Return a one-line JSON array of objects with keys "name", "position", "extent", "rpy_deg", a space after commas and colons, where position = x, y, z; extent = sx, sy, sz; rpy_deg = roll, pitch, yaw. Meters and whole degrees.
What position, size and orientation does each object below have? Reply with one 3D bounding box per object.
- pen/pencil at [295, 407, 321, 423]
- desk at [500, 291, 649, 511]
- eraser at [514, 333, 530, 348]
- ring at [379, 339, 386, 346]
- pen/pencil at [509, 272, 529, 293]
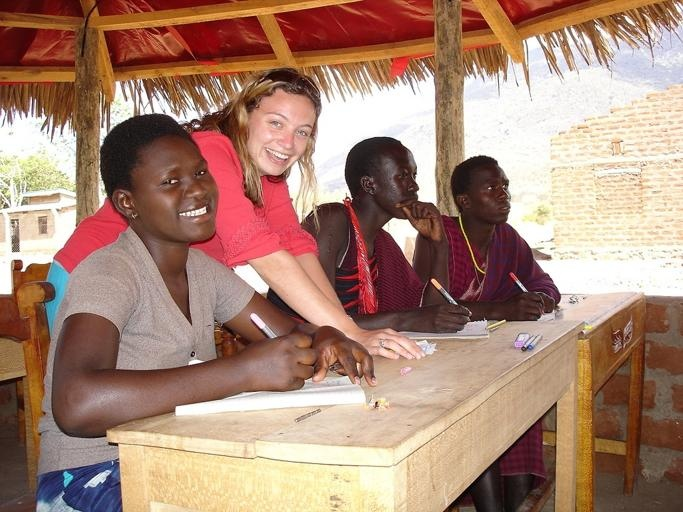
[{"name": "pen/pencil", "position": [-0.070, 0.335, 1.087], "extent": [0.015, 0.012, 0.076], "rpy_deg": [-13, -6, 29]}, {"name": "desk", "position": [1.112, 0.682, 2.404], "extent": [0.541, 1.162, 1.358], "rpy_deg": [1, 4, 28]}, {"name": "eraser", "position": [0.603, 0.282, 1.721], "extent": [0.032, 0.028, 0.107], "rpy_deg": [-1, 2, 21]}, {"name": "ring", "position": [0.131, 0.276, 1.634], "extent": [0.018, 0.008, 0.023], "rpy_deg": [-1, 11, 2]}, {"name": "pen/pencil", "position": [1.021, 0.153, 2.947], "extent": [0.024, 0.023, 0.175], "rpy_deg": [-22, -52, 38]}]
